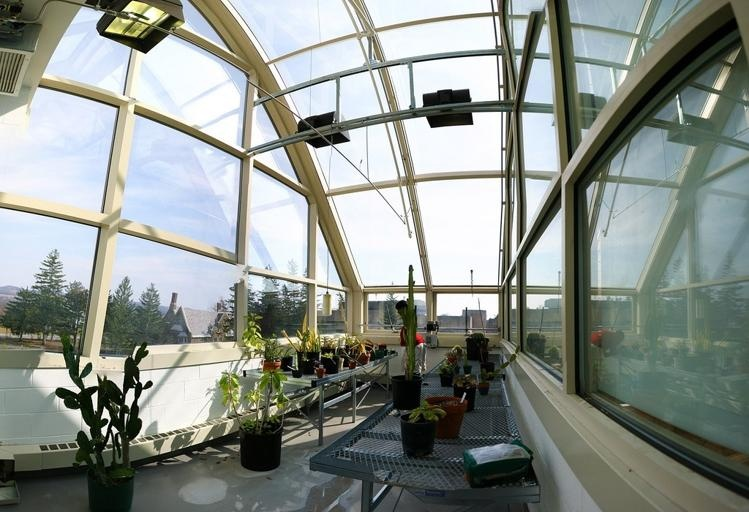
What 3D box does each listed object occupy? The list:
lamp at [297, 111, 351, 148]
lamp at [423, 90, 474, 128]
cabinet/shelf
[{"bbox_3d":[-0.805,-1.918,7.327,0.548,0.424,0.735,-15,5,10],"label":"lamp"},{"bbox_3d":[1.001,-1.970,6.531,0.642,0.389,0.605,-6,-9,27],"label":"lamp"},{"bbox_3d":[0.413,1.184,3.130,1.218,0.542,1.406,1,-3,18],"label":"cabinet/shelf"}]
